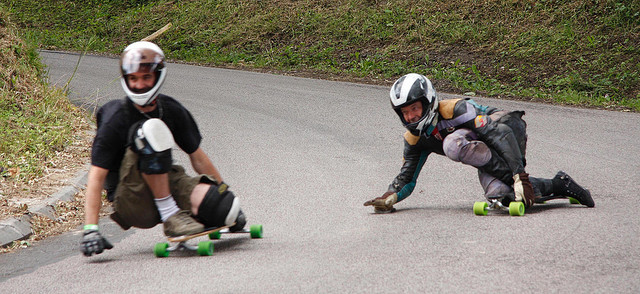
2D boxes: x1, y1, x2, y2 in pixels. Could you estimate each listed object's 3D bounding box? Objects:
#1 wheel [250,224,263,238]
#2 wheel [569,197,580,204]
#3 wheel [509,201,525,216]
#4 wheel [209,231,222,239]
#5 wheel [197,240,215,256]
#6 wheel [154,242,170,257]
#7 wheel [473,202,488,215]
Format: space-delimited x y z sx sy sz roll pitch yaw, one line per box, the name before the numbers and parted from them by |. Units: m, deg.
wheel | -1.129 1.541 9.274 0.249 0.253 0.273 -4 38 3
wheel | 5.080 1.085 10.048 0.108 0.107 0.324 6 2 44
wheel | 3.779 1.132 9.703 0.287 0.316 0.353 5 24 22
wheel | -1.950 1.639 9.358 0.230 0.164 0.162 -4 26 8
wheel | -1.978 1.751 8.854 0.344 0.249 0.247 -1 32 8
wheel | -2.790 1.815 8.957 0.254 0.266 0.307 1 -2 5
wheel | 3.075 1.184 9.673 0.276 0.222 0.238 6 -7 14
